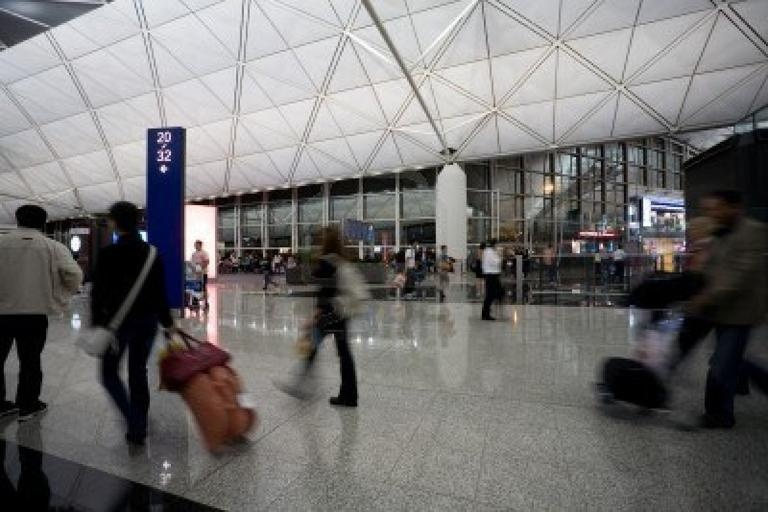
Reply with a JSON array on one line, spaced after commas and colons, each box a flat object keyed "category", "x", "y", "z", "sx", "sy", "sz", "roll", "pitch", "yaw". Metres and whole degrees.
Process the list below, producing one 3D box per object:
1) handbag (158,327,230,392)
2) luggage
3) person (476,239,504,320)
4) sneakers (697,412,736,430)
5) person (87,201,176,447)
[{"category": "handbag", "x": -2.967, "y": 1.851, "z": 8.547, "sx": 1.016, "sy": 0.360, "sz": 1.030, "roll": 30, "pitch": 45, "yaw": 17}, {"category": "luggage", "x": -2.562, "y": 2.382, "z": 8.161, "sx": 0.857, "sy": 1.205, "sz": 0.657, "roll": -30, "pitch": -3, "yaw": -44}, {"category": "person", "x": 3.061, "y": 0.672, "z": 15.423, "sx": 0.532, "sy": 2.235, "sz": 1.025, "roll": 0, "pitch": 1, "yaw": 11}, {"category": "sneakers", "x": 4.947, "y": 2.477, "z": 8.008, "sx": 0.423, "sy": 0.289, "sz": 0.236, "roll": -6, "pitch": -8, "yaw": 26}, {"category": "person", "x": -3.880, "y": 1.040, "z": 8.297, "sx": 1.102, "sy": 3.728, "sz": 0.309, "roll": -1, "pitch": 1, "yaw": -5}]
